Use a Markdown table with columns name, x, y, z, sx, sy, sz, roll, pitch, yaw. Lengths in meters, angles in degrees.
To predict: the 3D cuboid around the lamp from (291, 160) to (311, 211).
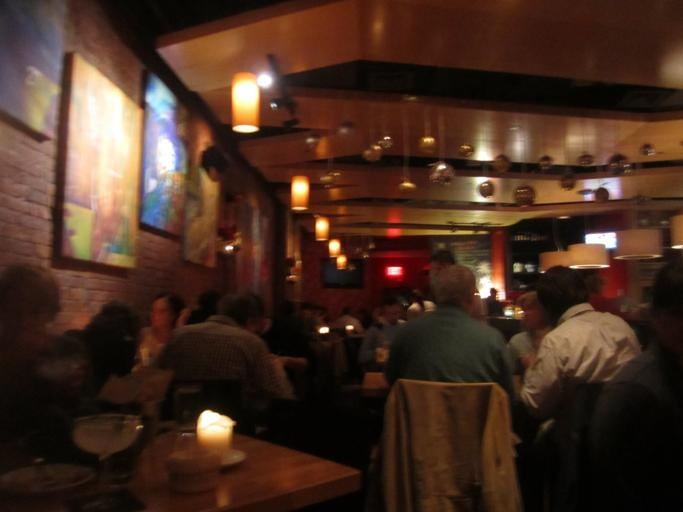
| name | x | y | z | sx | sy | sz | roll | pitch | yaw |
| --- | --- | --- | --- | --- | --- | --- | --- | --- | --- |
| lamp | -0.483 | -0.745 | 6.734 | 0.264 | 0.423 | 0.260 | 0 | 0 | -27 |

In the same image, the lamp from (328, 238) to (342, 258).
| name | x | y | z | sx | sy | sz | roll | pitch | yaw |
| --- | --- | --- | --- | --- | --- | --- | --- | --- | --- |
| lamp | -0.154 | -0.178 | 12.187 | 0.338 | 0.373 | 0.333 | -1 | -1 | -2 |

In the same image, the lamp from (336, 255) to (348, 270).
| name | x | y | z | sx | sy | sz | roll | pitch | yaw |
| --- | --- | --- | --- | --- | --- | --- | --- | --- | --- |
| lamp | 0.077 | 0.143 | 14.164 | 0.356 | 0.384 | 0.348 | 2 | -7 | -21 |

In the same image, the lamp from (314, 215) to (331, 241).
| name | x | y | z | sx | sy | sz | roll | pitch | yaw |
| --- | --- | --- | --- | --- | --- | --- | --- | --- | --- |
| lamp | -0.299 | -0.437 | 9.472 | 0.196 | 0.344 | 0.261 | 6 | 13 | -8 |
